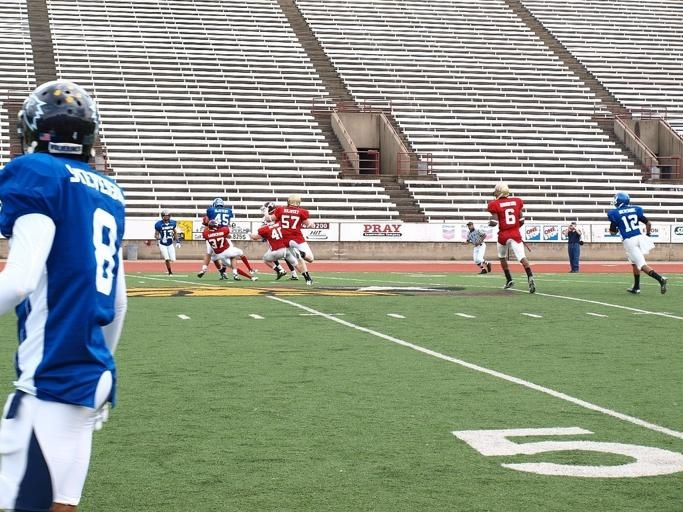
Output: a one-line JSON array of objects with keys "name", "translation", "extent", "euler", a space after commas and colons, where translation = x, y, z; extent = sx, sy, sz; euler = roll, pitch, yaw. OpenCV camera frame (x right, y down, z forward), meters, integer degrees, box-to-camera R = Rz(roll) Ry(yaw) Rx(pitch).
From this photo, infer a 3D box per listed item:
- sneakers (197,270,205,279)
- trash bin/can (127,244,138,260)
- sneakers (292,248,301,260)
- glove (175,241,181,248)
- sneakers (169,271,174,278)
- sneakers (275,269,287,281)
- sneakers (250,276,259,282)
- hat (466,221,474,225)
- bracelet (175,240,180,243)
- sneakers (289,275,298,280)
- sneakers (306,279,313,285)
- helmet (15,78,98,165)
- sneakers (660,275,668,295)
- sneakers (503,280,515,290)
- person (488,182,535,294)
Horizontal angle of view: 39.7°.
[{"name": "sneakers", "translation": [-3.061, 0.427, 20.487], "extent": [0.161, 0.161, 0.407], "euler": [3, 7, -6]}, {"name": "trash bin/can", "translation": [-6.518, -0.132, 29.402], "extent": [0.377, 0.536, 0.318], "euler": [2, 4, -4]}, {"name": "sneakers", "translation": [-0.931, -0.022, 19.228], "extent": [0.101, 0.229, 0.148], "euler": [-9, -4, -18]}, {"name": "glove", "translation": [-5.076, -0.327, 29.336], "extent": [0.224, 0.098, 0.294], "euler": [8, 3, -8]}, {"name": "sneakers", "translation": [-3.931, 0.449, 21.771], "extent": [0.123, 0.108, 0.123], "euler": [-1, 7, 2]}, {"name": "sneakers", "translation": [-1.329, 0.442, 20.628], "extent": [0.180, 0.249, 0.087], "euler": [44, 9, 16]}, {"name": "sneakers", "translation": [-1.840, 0.495, 19.871], "extent": [0.086, 0.064, 0.175], "euler": [17, -7, 1]}, {"name": "hat", "translation": [3.429, -0.851, 25.260], "extent": [0.149, 0.064, 0.212], "euler": [0, -1, 12]}, {"name": "bracelet", "translation": [-4.650, -0.389, 26.777], "extent": [0.072, 0.048, 0.060], "euler": [-9, -5, -28]}, {"name": "sneakers", "translation": [-1.029, 0.477, 19.886], "extent": [0.202, 0.118, 0.063], "euler": [5, 14, 8]}, {"name": "sneakers", "translation": [-0.640, 0.529, 18.401], "extent": [0.112, 0.121, 0.305], "euler": [-2, -3, 4]}, {"name": "helmet", "translation": [-1.370, -0.671, 4.574], "extent": [0.352, 0.318, 0.404], "euler": [3, 33, -25]}, {"name": "sneakers", "translation": [5.648, 0.540, 16.618], "extent": [0.147, 0.301, 0.113], "euler": [0, -4, 24]}, {"name": "sneakers", "translation": [3.017, 0.539, 17.011], "extent": [0.113, 0.125, 0.279], "euler": [1, -2, -5]}, {"name": "person", "translation": [2.934, -0.293, 16.575], "extent": [0.824, 1.881, 1.168], "euler": [1, 4, -14]}]
